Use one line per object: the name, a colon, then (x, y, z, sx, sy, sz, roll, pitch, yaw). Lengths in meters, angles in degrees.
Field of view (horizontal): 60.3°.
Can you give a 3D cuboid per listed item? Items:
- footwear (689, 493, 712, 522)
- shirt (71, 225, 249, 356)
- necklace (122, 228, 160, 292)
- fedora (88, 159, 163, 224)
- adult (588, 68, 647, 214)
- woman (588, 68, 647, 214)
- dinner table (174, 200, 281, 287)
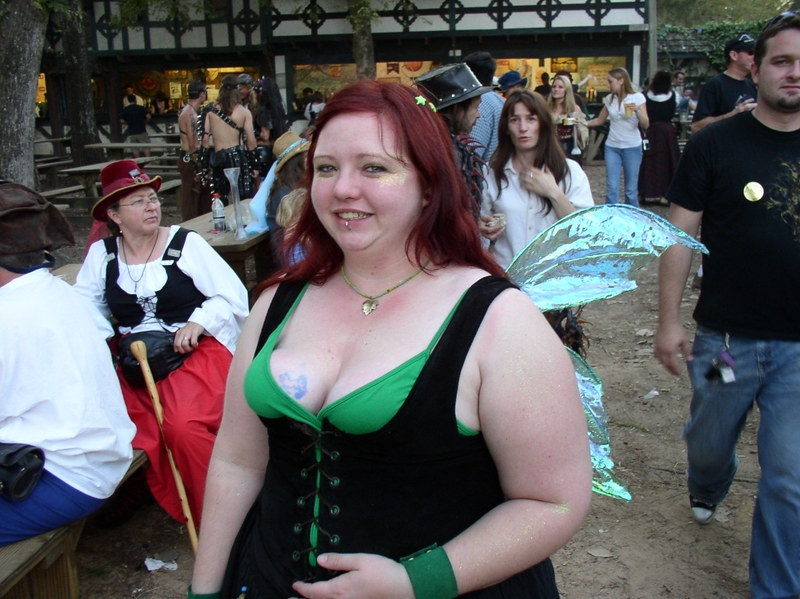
footwear: (1.673, 1.161, 3.806, 0.080, 0.065, 0.168, -6, 22, 19)
shirt: (-1.422, -0.284, 4.330, 1.155, 1.010, 0.725, 2, 8, 1)
necklace: (-1.548, -0.281, 4.140, 0.197, 0.423, 0.070, 7, -14, 7)
fedora: (-1.715, -0.672, 4.165, 0.387, 0.169, 0.352, -32, 2, 9)
adult: (3.268, -2.338, 10.009, 0.650, 2.020, 1.148, 1, 14, 18)
woman: (3.264, -2.335, 9.997, 0.650, 2.020, 1.123, 1, 14, 18)
dinner table: (-1.322, -0.440, 5.403, 0.372, 0.574, 1.129, 2, 27, 2)
